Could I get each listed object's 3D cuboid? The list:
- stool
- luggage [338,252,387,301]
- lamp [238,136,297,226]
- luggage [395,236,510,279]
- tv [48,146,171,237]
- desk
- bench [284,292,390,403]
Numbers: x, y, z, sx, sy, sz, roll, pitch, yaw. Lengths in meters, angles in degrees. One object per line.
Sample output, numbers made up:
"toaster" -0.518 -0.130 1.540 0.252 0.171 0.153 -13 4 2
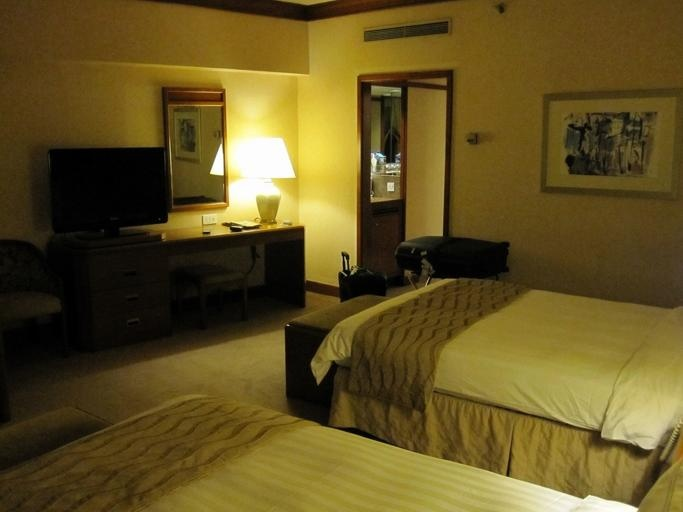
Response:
"stool" -1.344 0.311 5.381 0.647 0.514 0.639 7 9 26
"luggage" 0.198 0.198 4.979 0.426 0.454 0.277 -4 14 -6
"lamp" -0.830 -0.843 5.809 0.515 0.887 0.557 -5 15 -23
"luggage" 0.897 -0.076 5.094 0.622 0.191 0.679 -12 9 0
"tv" -2.093 -0.581 4.706 0.806 0.669 0.109 -6 7 -38
"desk" -1.509 0.205 5.399 2.422 0.887 0.755 -10 12 -42
"bench" -0.099 0.682 3.854 0.561 0.523 1.068 6 12 31
